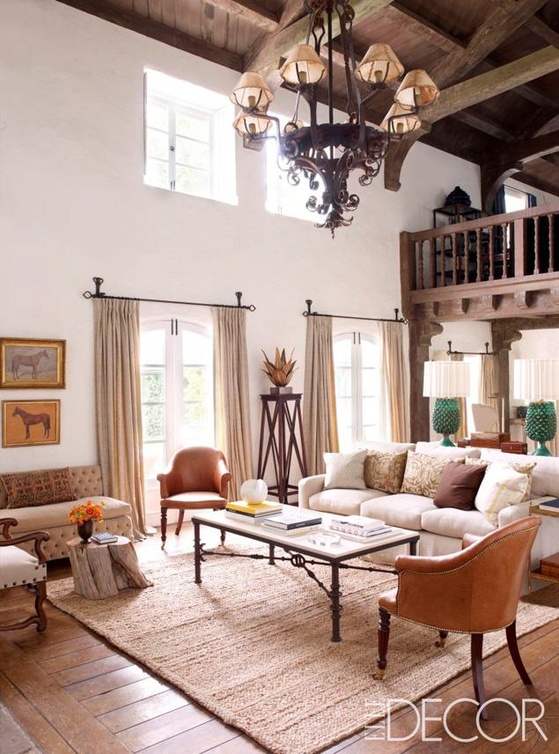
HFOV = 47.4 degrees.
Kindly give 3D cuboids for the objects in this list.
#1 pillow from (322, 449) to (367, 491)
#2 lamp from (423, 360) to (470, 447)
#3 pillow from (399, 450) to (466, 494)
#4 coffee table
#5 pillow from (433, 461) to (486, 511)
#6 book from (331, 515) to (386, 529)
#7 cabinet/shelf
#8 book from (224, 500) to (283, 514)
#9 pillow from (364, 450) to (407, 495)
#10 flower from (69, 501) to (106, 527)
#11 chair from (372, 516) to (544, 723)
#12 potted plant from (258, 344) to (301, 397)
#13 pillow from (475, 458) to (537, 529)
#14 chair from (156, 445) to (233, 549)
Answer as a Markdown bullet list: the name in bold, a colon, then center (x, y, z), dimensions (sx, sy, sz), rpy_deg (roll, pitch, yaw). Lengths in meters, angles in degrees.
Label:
- **pillow**: center (0.578, 0.833, 5.612), dimensions (0.386, 0.339, 0.139), rpy_deg (-4, -45, 17)
- **lamp**: center (1.550, 0.266, 5.887), dimensions (0.398, 0.734, 0.405), rpy_deg (11, -1, -9)
- **pillow**: center (1.216, 0.751, 4.991), dimensions (0.136, 0.272, 0.389), rpy_deg (43, -22, -22)
- **coffee table**: center (0.320, 1.029, 3.920), dimensions (0.658, 0.426, 1.253), rpy_deg (-2, 1, -42)
- **pillow**: center (1.294, 0.832, 4.725), dimensions (0.229, 0.353, 0.440), rpy_deg (12, -15, -22)
- **book**: center (0.490, 0.916, 3.994), dimensions (0.230, 0.042, 0.212), rpy_deg (2, -4, -32)
- **cabinet/shelf**: center (2.730, -1.699, 9.738), dimensions (0.784, 2.158, 1.313), rpy_deg (-3, 13, 13)
- **book**: center (-0.196, 0.919, 4.476), dimensions (0.285, 0.054, 0.277), rpy_deg (2, -4, -36)
- **pillow**: center (0.911, 0.832, 5.432), dimensions (0.132, 0.316, 0.349), rpy_deg (19, -11, -34)
- **flower**: center (-1.291, 0.914, 4.317), dimensions (0.198, 0.118, 0.234), rpy_deg (-1, 0, 1)
- **chair**: center (0.856, 1.028, 3.019), dimensions (0.676, 0.763, 0.665), rpy_deg (-2, -4, 32)
- **potted plant**: center (-0.042, -0.041, 7.093), dimensions (0.492, 0.513, 0.474), rpy_deg (0, -5, -5)
- **pillow**: center (1.504, 0.751, 4.267), dimensions (0.120, 0.356, 0.385), rpy_deg (23, -16, -13)
- **chair**: center (-0.758, 1.056, 5.700), dimensions (0.668, 0.772, 0.652), rpy_deg (0, 1, -4)
